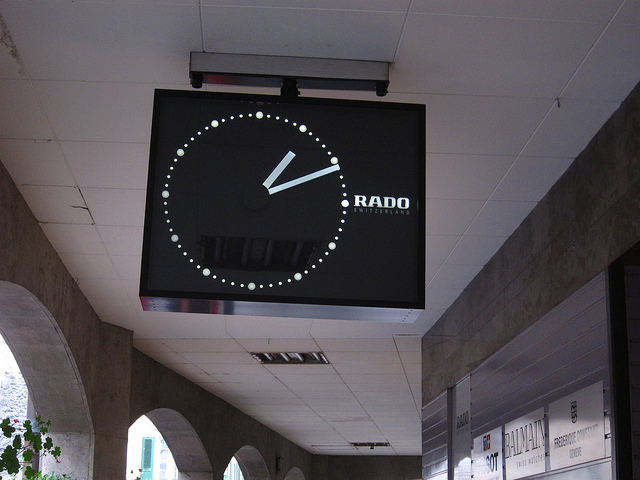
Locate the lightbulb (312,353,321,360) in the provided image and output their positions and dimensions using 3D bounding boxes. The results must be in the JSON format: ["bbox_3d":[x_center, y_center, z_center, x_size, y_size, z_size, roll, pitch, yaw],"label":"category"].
[{"bbox_3d":[-0.038,1.313,9.279,0.023,0.074,0.098,-18,28,-23],"label":"lightbulb"}]

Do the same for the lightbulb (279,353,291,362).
[{"bbox_3d":[-0.414,1.338,9.446,0.091,0.045,0.381,-2,-26,4],"label":"lightbulb"}]
